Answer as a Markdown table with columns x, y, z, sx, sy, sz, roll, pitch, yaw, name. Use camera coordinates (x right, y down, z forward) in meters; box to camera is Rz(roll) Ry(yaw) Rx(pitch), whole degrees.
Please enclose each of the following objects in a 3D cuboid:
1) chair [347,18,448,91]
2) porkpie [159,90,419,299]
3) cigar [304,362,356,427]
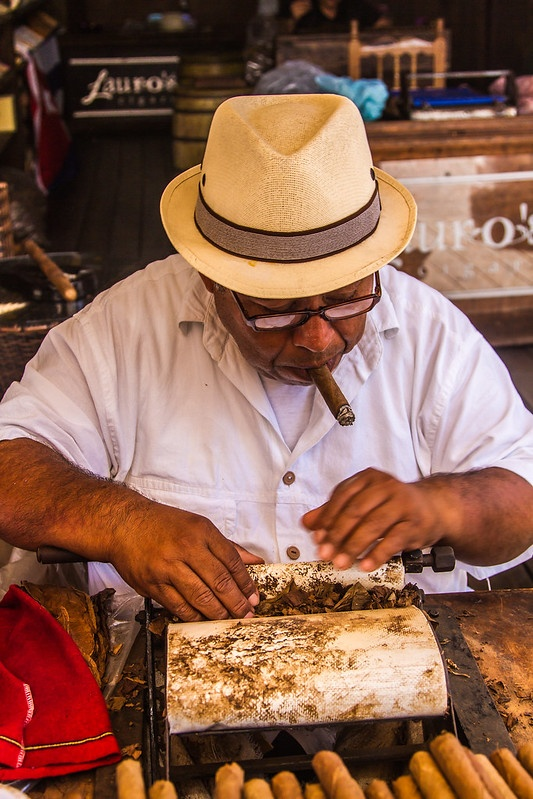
| x | y | z | sx | sy | sz | roll | pitch | yaw | name |
| --- | --- | --- | --- | --- | --- | --- | --- | --- | --- |
| 0.794 | -2.081 | 4.491 | 0.605 | 0.345 | 0.581 | -4 | 5 | -1 | chair |
| 0.056 | -0.430 | 1.432 | 0.541 | 0.268 | 0.527 | -12 | 41 | -6 | porkpie |
| 0.123 | -0.010 | 1.454 | 0.043 | 0.049 | 0.194 | -31 | 37 | 2 | cigar |
